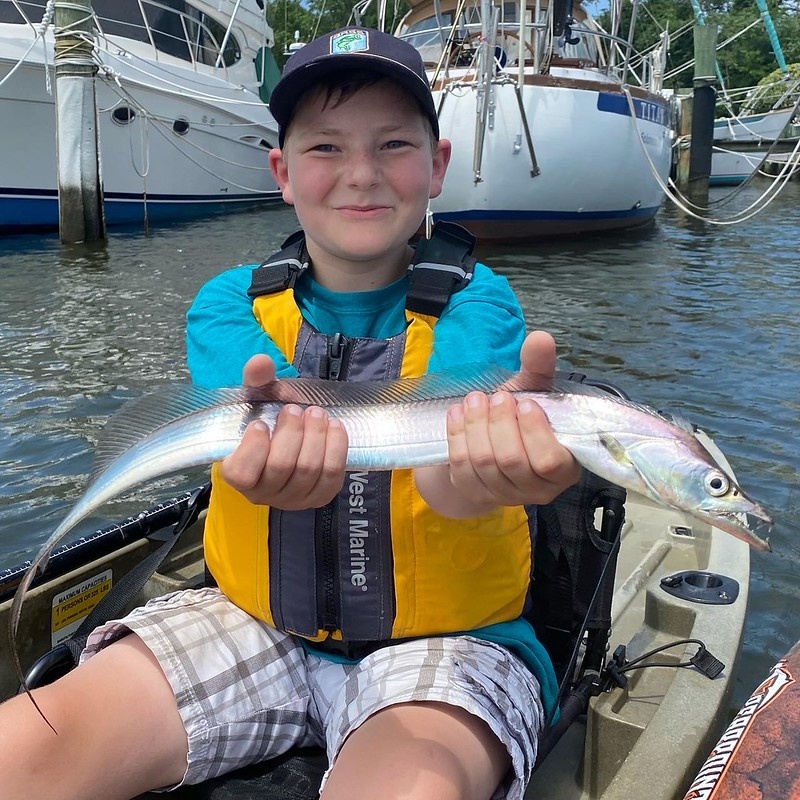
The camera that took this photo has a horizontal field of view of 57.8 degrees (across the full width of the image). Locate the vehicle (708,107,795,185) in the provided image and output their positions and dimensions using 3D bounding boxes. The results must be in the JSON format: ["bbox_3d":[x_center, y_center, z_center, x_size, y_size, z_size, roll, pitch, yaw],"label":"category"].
[{"bbox_3d":[11.677,-8.482,24.087,2.063,2.631,5.183,9,18,23],"label":"vehicle"}]
